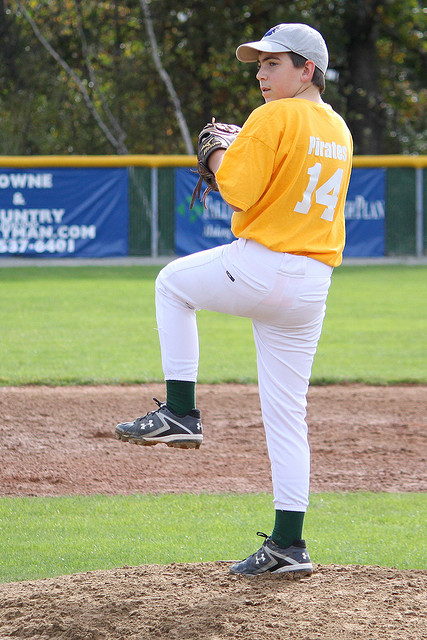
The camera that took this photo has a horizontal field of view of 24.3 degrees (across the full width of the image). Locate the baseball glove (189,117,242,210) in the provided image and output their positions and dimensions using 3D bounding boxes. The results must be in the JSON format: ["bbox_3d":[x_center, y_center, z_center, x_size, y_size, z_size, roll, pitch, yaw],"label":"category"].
[{"bbox_3d":[0.028,-0.567,3.627,0.210,0.302,0.137,1,0,34],"label":"baseball glove"}]

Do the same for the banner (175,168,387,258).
[{"bbox_3d":[1.107,-1.602,14.673,3.569,1.390,0.611,-2,11,-25],"label":"banner"}]
